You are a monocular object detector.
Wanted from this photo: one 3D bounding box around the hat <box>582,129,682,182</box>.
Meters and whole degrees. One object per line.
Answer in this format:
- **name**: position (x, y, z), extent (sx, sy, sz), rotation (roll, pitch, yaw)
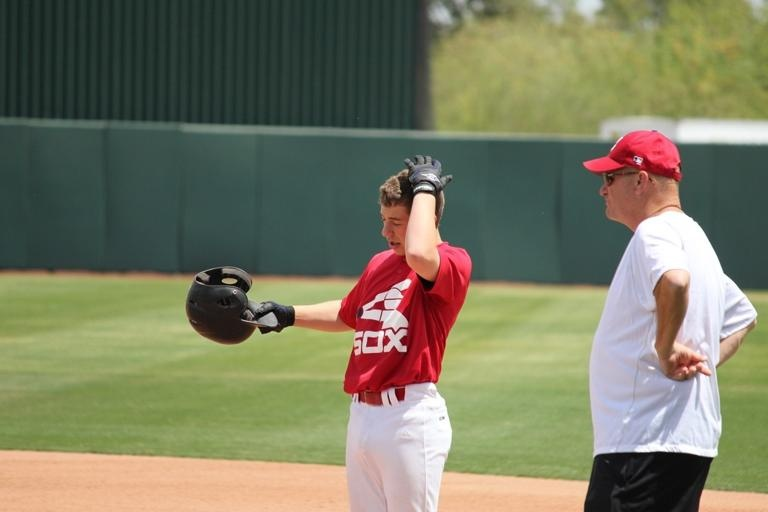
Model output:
- **hat**: position (3.303, -1.323, 17.273), extent (0.985, 0.524, 0.642), rotation (11, 5, 15)
